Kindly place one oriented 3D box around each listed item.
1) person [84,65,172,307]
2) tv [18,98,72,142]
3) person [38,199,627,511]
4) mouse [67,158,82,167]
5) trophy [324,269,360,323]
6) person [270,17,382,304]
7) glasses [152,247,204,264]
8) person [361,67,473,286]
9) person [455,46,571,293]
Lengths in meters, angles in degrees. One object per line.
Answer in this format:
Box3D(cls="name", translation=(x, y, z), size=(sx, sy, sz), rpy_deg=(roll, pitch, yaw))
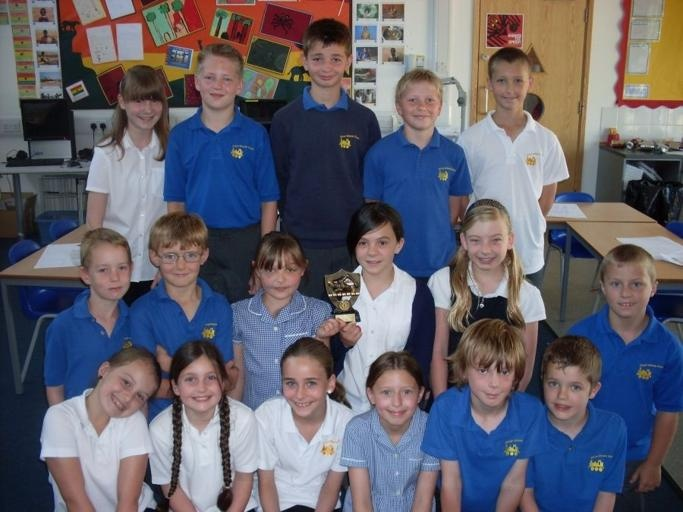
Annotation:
Box3D(cls="person", translation=(-1.187, -0.391, 3.354), size=(0.315, 1.360, 0.430), rpy_deg=(-2, 17, -7))
Box3D(cls="tv", translation=(-3.173, -1.467, 6.459), size=(0.457, 0.413, 0.166), rpy_deg=(-1, 19, -5))
Box3D(cls="person", translation=(0.485, 0.813, 2.669), size=(1.867, 0.460, 1.280), rpy_deg=(-1, 13, 1))
Box3D(cls="mouse", translation=(-2.774, -0.954, 6.215), size=(0.141, 0.079, 0.249), rpy_deg=(-5, 11, -25))
Box3D(cls="trophy", translation=(0.011, 0.191, 2.843), size=(0.159, 0.250, 0.112), rpy_deg=(-5, -9, 5))
Box3D(cls="person", translation=(-0.091, -0.544, 3.215), size=(0.506, 1.561, 0.336), rpy_deg=(-3, 21, -10))
Box3D(cls="glasses", translation=(-0.779, 0.000, 2.884), size=(0.216, 0.064, 0.072), rpy_deg=(-2, 10, -13))
Box3D(cls="person", translation=(0.433, -0.247, 3.326), size=(0.592, 1.469, 0.444), rpy_deg=(-5, 19, -6))
Box3D(cls="person", translation=(1.021, -0.252, 3.546), size=(0.637, 1.850, 0.607), rpy_deg=(-3, 19, 0))
